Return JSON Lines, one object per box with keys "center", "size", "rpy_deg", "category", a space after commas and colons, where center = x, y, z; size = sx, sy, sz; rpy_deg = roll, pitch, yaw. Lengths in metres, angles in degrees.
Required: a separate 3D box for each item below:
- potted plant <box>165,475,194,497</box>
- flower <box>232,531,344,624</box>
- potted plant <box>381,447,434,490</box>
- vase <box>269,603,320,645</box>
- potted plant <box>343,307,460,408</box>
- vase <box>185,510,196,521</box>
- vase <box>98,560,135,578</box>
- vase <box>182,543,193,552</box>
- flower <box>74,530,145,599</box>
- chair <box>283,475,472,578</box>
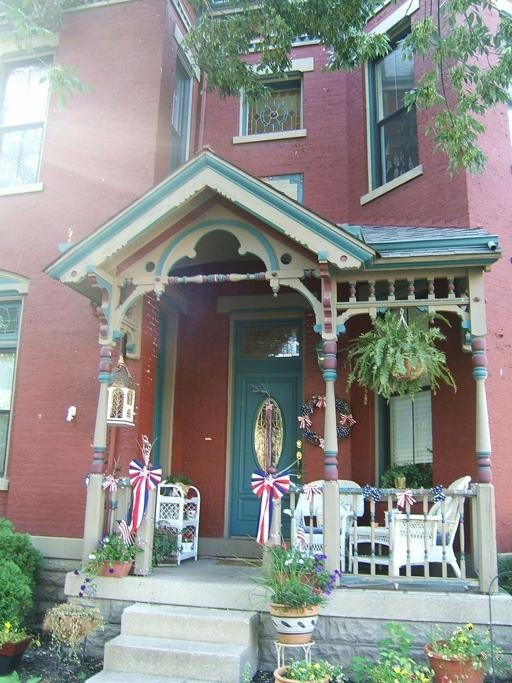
{"center": [-0.939, 1.726, 7.164], "size": [0.348, 0.322, 0.339], "rpy_deg": [0, -13, -5], "category": "potted plant"}
{"center": [0.297, 1.789, 4.197], "size": [0.647, 0.643, 0.602], "rpy_deg": [14, -17, -27], "category": "flower"}
{"center": [1.653, 1.370, 6.378], "size": [0.445, 0.259, 0.474], "rpy_deg": [-3, -4, 20], "category": "potted plant"}
{"center": [0.260, 1.919, 3.974], "size": [0.302, 0.217, 0.301], "rpy_deg": [-5, -23, 18], "category": "vase"}
{"center": [1.217, 0.091, 4.891], "size": [0.639, 0.606, 0.746], "rpy_deg": [-4, 5, -17], "category": "potted plant"}
{"center": [-0.769, 2.040, 6.854], "size": [0.093, 0.106, 0.118], "rpy_deg": [-3, 7, 2], "category": "vase"}
{"center": [-1.218, 1.961, 5.022], "size": [0.274, 0.144, 0.136], "rpy_deg": [4, -14, -13], "category": "vase"}
{"center": [-0.768, 2.304, 6.518], "size": [0.142, 0.118, 0.161], "rpy_deg": [-6, -18, 15], "category": "vase"}
{"center": [-1.334, 1.893, 5.040], "size": [0.479, 0.314, 0.417], "rpy_deg": [3, 7, 35], "category": "flower"}
{"center": [1.152, 1.738, 5.509], "size": [1.687, 0.903, 2.027], "rpy_deg": [-2, -14, 14], "category": "chair"}
